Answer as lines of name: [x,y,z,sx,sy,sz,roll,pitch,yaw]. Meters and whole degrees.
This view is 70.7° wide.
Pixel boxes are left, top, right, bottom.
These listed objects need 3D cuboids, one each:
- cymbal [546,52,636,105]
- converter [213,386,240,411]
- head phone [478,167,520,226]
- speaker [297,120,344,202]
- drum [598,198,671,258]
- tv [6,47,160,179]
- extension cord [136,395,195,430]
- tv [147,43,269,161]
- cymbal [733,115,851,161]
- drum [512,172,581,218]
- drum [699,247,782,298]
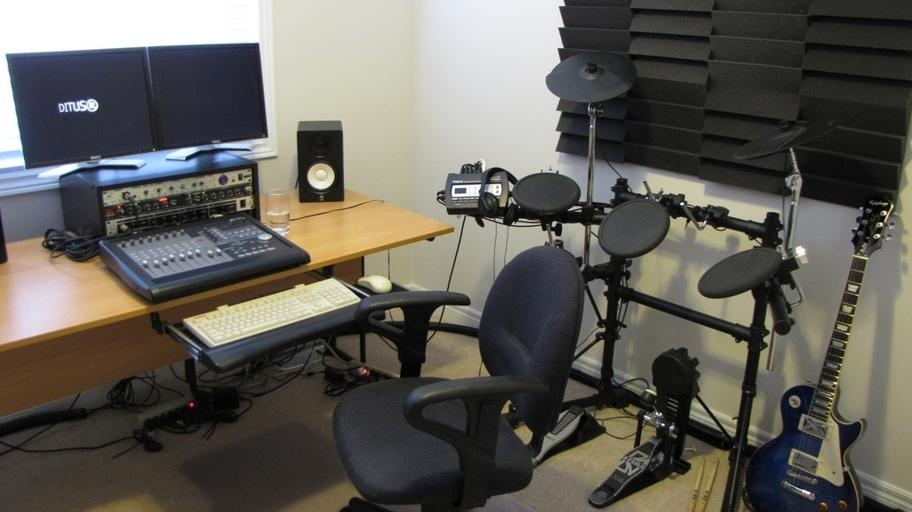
cymbal: [0.758,-0.989,3.618,0.482,0.275,0.347,6,24,12]
converter: [-1.407,0.878,3.934,0.149,0.129,0.142,-3,7,-34]
head phone: [0.247,-0.350,3.785,0.149,0.322,0.398,-3,5,22]
speaker: [-0.817,-0.560,4.065,0.364,0.450,0.347,5,9,33]
drum: [0.940,-0.147,3.396,0.335,0.233,0.335,1,23,0]
tv: [-1.985,-0.776,3.450,0.756,0.564,0.073,-12,18,-29]
extension cord: [-1.740,0.938,3.863,0.285,0.071,0.152,-19,37,-23]
tv: [-1.436,-0.944,3.767,0.061,0.576,0.753,13,24,30]
cymbal: [1.700,-0.605,3.273,0.380,0.204,0.534,20,29,37]
drum: [0.507,-0.337,3.641,0.368,0.212,0.246,3,23,5]
drum: [1.436,0.078,3.235,0.414,0.194,0.268,-14,28,-32]
